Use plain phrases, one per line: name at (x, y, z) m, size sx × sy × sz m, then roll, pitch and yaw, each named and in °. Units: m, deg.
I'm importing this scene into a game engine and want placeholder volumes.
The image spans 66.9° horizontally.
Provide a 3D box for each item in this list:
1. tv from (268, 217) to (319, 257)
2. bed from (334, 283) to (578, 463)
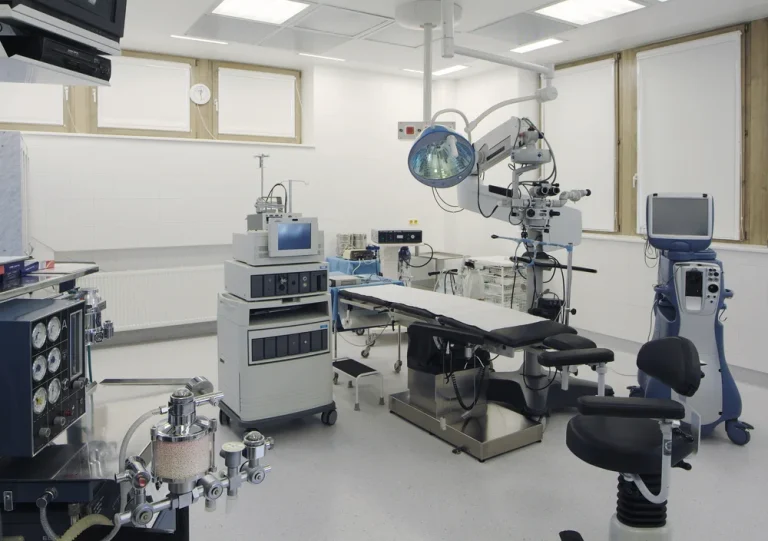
tv at (-0.665, -0.256, 4.309) m, size 0.481 × 0.359 × 0.245 m, roll -2°, pitch 3°, yaw -39°
bed at (0.492, 0.709, 4.544) m, size 0.717 × 0.989 × 1.787 m, roll -2°, pitch 5°, yaw -32°
